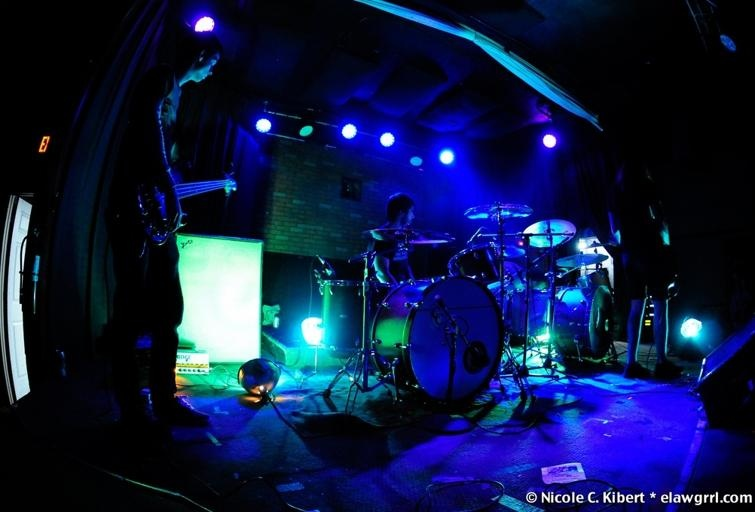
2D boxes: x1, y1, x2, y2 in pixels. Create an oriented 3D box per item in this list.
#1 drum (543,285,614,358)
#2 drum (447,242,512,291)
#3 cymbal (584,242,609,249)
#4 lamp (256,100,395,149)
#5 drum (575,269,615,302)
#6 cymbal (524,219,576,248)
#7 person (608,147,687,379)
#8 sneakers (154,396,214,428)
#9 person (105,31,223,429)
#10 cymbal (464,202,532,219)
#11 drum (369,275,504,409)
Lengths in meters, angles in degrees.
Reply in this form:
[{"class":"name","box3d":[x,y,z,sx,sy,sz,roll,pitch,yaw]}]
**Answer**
[{"class":"drum","box3d":[2.410,0.783,6.836,0.955,0.907,0.506,0,5,-40]},{"class":"drum","box3d":[1.326,0.117,7.620,0.710,0.687,0.692,0,-12,9]},{"class":"cymbal","box3d":[2.745,-0.131,7.158,0.162,0.037,0.159,4,-7,-26]},{"class":"lamp","box3d":[-0.795,-1.868,8.182,1.906,0.479,0.225,-1,4,-26]},{"class":"drum","box3d":[2.885,0.389,7.615,0.346,0.333,0.324,19,-20,-3]},{"class":"cymbal","box3d":[1.843,-0.247,6.245,0.477,0.187,0.462,8,-37,-9]},{"class":"person","box3d":[2.908,0.062,6.254,0.528,2.430,0.892,1,4,2]},{"class":"sneakers","box3d":[-1.498,1.276,4.621,0.530,0.212,0.175,6,-11,-12]},{"class":"person","box3d":[-1.660,-0.206,4.473,0.459,3.137,0.786,2,4,18]},{"class":"cymbal","box3d":[1.237,-0.463,5.866,0.509,0.189,0.555,-1,4,-29]},{"class":"drum","box3d":[0.568,0.773,5.459,1.205,1.129,0.769,-3,-2,-27]}]
